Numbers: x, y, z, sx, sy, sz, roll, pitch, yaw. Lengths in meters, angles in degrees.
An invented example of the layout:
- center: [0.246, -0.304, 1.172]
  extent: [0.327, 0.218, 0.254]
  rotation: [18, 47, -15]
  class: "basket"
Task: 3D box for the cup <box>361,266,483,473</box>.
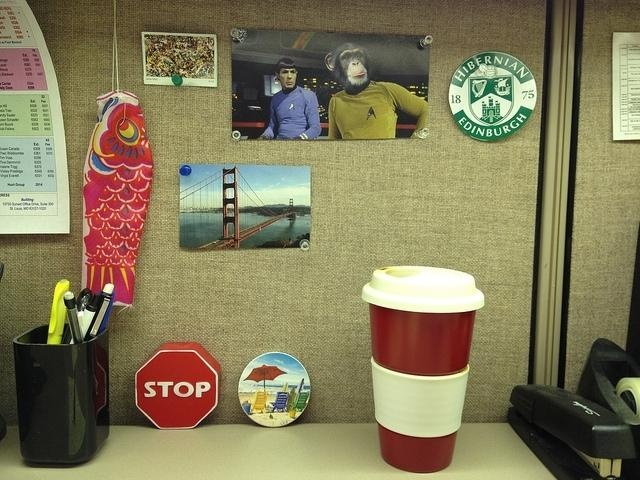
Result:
- center: [0.241, 0.300, 1.450]
  extent: [0.270, 0.448, 0.185]
  rotation: [1, 13, 15]
  class: "cup"
